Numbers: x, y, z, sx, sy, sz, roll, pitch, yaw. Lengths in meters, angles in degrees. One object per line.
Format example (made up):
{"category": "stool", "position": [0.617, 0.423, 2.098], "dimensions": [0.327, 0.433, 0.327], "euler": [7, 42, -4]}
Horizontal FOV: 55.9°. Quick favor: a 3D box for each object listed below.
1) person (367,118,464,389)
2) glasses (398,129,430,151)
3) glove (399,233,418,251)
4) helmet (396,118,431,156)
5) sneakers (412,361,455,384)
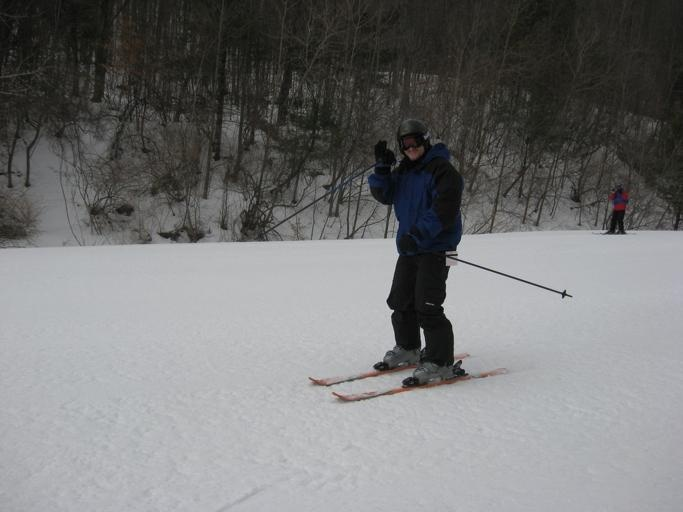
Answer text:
{"category": "person", "position": [0.690, -0.056, 5.835], "dimensions": [0.929, 2.277, 0.632], "euler": [11, 17, 42]}
{"category": "glasses", "position": [0.639, -1.024, 5.759], "dimensions": [0.154, 0.176, 0.222], "euler": [0, 34, 25]}
{"category": "glove", "position": [0.585, -0.097, 5.657], "dimensions": [0.110, 0.169, 0.069], "euler": [18, 7, 31]}
{"category": "helmet", "position": [0.653, -1.084, 5.873], "dimensions": [0.228, 0.278, 0.302], "euler": [0, 19, 12]}
{"category": "sneakers", "position": [0.815, 1.055, 5.825], "dimensions": [0.408, 0.217, 0.147], "euler": [1, 1, -16]}
